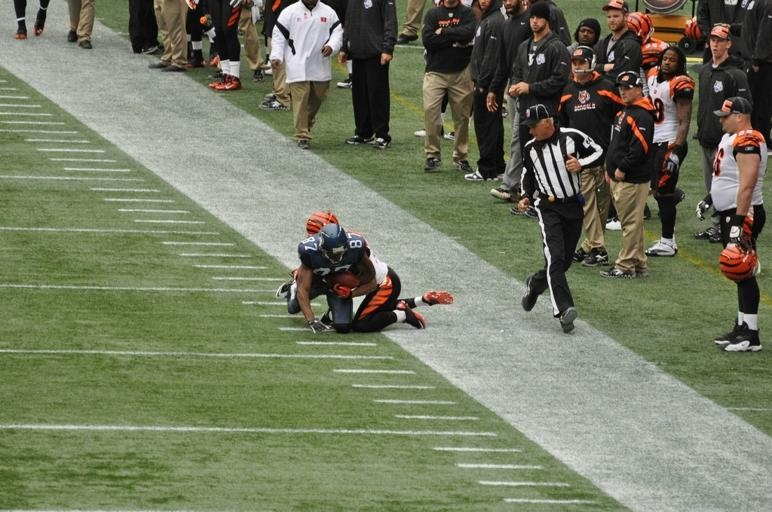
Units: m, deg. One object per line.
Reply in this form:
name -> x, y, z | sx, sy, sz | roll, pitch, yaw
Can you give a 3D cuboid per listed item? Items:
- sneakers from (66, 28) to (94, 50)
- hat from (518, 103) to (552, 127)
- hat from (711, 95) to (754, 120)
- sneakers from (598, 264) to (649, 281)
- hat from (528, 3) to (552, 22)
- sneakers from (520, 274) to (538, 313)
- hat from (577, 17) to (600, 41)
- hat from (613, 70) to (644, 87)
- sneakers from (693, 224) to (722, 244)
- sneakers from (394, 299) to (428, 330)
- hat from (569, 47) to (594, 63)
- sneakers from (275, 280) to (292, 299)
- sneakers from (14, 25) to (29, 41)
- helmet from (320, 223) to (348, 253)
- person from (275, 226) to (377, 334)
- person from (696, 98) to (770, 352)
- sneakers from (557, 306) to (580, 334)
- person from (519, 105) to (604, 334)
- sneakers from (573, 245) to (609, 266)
sneakers -> -5.237, -3.740, 29.881 | 0.702, 0.266, 0.225 | 26, 46, 33
hat -> 1.710, -1.639, 20.284 | 0.501, 0.240, 0.299 | -7, 25, -4
hat -> 3.930, -1.711, 19.846 | 0.397, 0.167, 0.254 | 1, 10, 11
sneakers -> 2.906, 0.192, 21.606 | 0.592, 0.218, 0.192 | 2, 16, 3
hat -> 1.977, -3.208, 22.770 | 0.262, 0.239, 0.340 | 2, 11, 4
sneakers -> 1.640, 0.431, 20.469 | 0.172, 0.421, 0.208 | 1, 19, -3
hat -> 2.650, -3.013, 23.020 | 0.320, 0.315, 0.355 | 13, 11, 12
hat -> 2.957, -2.169, 21.211 | 0.224, 0.125, 0.291 | 8, 14, 30
sneakers -> 4.204, -0.298, 22.852 | 0.447, 0.254, 0.140 | 8, 12, 22
sneakers -> 0.269, 0.705, 20.223 | 0.473, 0.179, 0.213 | 41, 57, 16
hat -> 2.405, -2.506, 21.633 | 0.270, 0.193, 0.324 | 2, 11, 3
sneakers -> -1.190, 0.364, 20.239 | 0.270, 0.091, 0.189 | -25, -38, 29
sneakers -> -6.257, -3.842, 30.050 | 0.293, 0.249, 0.693 | -2, 13, -15
helmet -> -0.591, -0.220, 19.469 | 0.279, 0.321, 0.274 | -19, -23, -6
person -> -0.625, 0.243, 19.793 | 0.991, 1.316, 0.639 | 1, 11, -3
person -> 3.997, -0.371, 19.918 | 0.672, 2.849, 0.759 | 3, 12, 2
sneakers -> 2.063, 0.732, 20.067 | 0.167, 0.330, 0.156 | -7, 45, 2
person -> 1.925, -0.460, 20.296 | 0.815, 2.574, 0.994 | 3, 12, 5
sneakers -> 2.558, -0.016, 21.921 | 0.635, 0.233, 0.211 | 4, 10, -1
